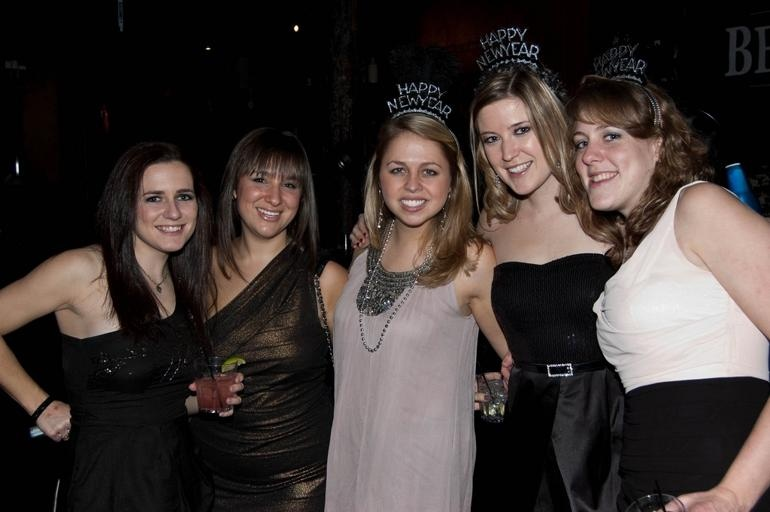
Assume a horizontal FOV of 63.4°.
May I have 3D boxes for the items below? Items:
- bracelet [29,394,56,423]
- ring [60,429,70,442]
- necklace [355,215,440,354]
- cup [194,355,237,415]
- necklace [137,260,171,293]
[{"bbox_3d":[-1.994,0.888,3.654,0.141,0.038,0.136,-41,16,43],"label":"bracelet"},{"bbox_3d":[-1.871,1.058,3.648,0.050,0.073,0.028,10,-11,-19],"label":"ring"},{"bbox_3d":[0.072,0.217,3.786,0.284,0.906,0.041,12,-25,22],"label":"necklace"},{"bbox_3d":[-1.058,0.789,3.839,0.298,0.354,0.299,-1,0,0],"label":"cup"},{"bbox_3d":[-1.415,0.135,3.857,0.042,0.168,0.163,-27,-12,30],"label":"necklace"}]
